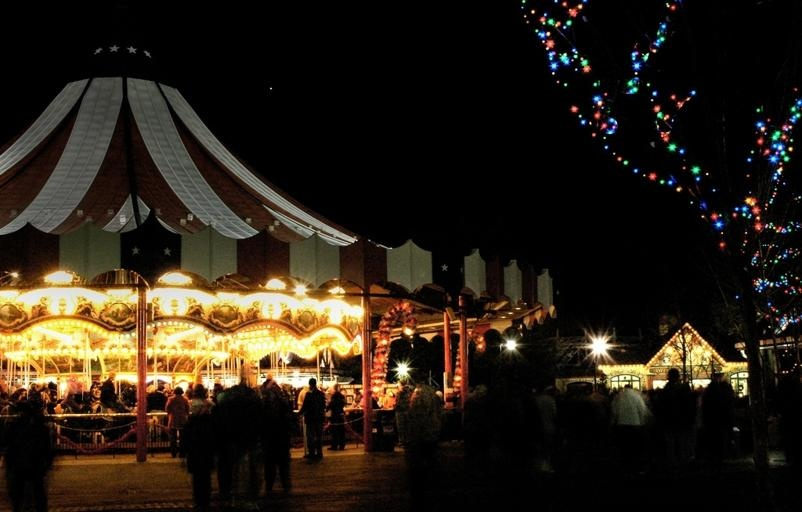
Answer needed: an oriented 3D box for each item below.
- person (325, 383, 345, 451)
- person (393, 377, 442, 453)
[{"bbox_3d":[-1.840,4.570,28.438,0.499,1.809,1.271,1,-12,-5],"label":"person"},{"bbox_3d":[0.362,3.013,19.147,0.789,1.258,0.836,5,-13,-20],"label":"person"}]
